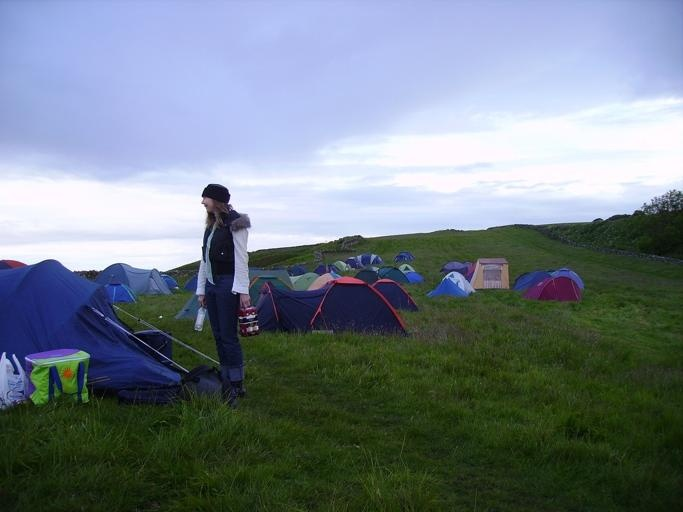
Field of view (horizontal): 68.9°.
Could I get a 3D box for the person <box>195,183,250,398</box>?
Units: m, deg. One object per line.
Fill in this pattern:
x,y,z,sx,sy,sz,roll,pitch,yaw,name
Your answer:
-1.969,0.597,8.286,1.041,3.521,0.492,7,6,30,person

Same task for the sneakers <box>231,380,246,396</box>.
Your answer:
-1.684,2.221,8.369,0.268,0.280,0.149,-1,4,-23,sneakers

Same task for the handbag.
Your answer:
-4.283,1.867,7.634,0.551,0.725,0.799,-1,-2,34,handbag

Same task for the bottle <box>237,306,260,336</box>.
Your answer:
-1.509,1.071,8.128,0.310,0.536,0.337,4,6,0,bottle
